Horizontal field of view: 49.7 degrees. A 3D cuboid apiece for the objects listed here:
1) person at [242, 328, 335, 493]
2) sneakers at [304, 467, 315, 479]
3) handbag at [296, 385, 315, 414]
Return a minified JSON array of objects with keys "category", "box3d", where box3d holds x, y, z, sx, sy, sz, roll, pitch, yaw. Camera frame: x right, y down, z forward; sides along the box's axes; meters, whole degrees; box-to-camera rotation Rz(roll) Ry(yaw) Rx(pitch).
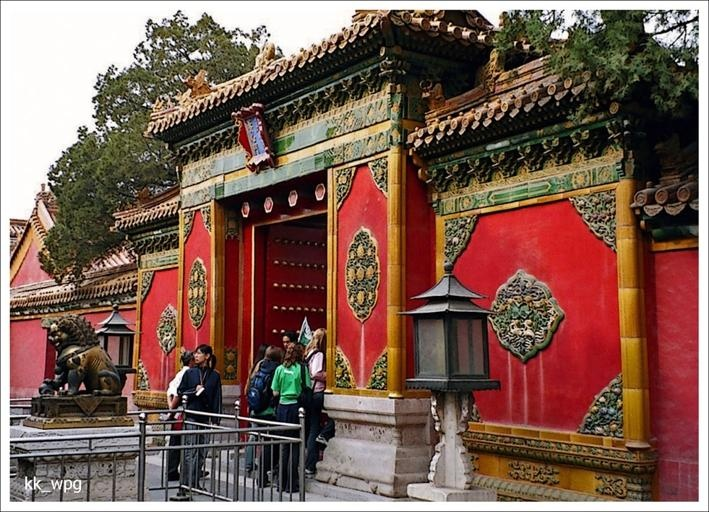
[{"category":"person","box3d":[-0.895,1.935,9.888,0.892,2.077,1.542,-2,-13,8]},{"category":"sneakers","box3d":[-0.588,2.901,10.205,0.066,0.087,0.184,-3,-23,11]},{"category":"handbag","box3d":[-0.617,1.849,9.840,0.107,0.321,0.257,3,-7,24]}]
